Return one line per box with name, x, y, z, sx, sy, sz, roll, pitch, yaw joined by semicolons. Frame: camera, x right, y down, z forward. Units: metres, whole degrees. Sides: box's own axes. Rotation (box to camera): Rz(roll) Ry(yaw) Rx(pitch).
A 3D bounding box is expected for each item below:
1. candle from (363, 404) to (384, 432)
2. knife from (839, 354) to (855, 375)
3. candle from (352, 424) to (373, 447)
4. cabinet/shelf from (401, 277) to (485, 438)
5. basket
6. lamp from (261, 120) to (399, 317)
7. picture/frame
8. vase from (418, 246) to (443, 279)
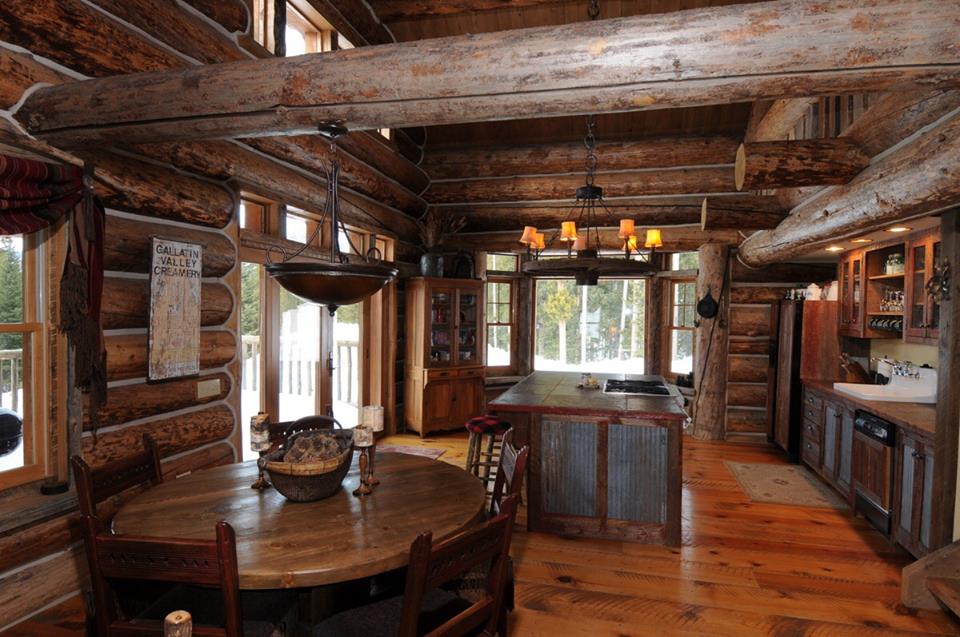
candle;-0.664;0.624;4.110;0.094;0.148;0.177;-1;-1;5
knife;3.871;0.493;6.976;0.268;0.122;0.068;18;22;-42
candle;-0.715;0.727;4.074;0.148;0.113;0.132;-2;2;-11
cabinet/shelf;-0.403;0.471;8.326;0.983;1.926;0.431;0;-1;-28
basket;-1.015;0.876;3.892;0.428;0.205;0.506;-1;-5;7
lamp;-0.868;-0.585;3.840;0.868;0.962;0.745;5;12;2
picture/frame;-2.195;-0.056;4.752;0.092;1.008;0.395;-1;-1;30
vase;-0.607;-0.696;8.297;0.264;0.406;0.445;0;-1;-11
